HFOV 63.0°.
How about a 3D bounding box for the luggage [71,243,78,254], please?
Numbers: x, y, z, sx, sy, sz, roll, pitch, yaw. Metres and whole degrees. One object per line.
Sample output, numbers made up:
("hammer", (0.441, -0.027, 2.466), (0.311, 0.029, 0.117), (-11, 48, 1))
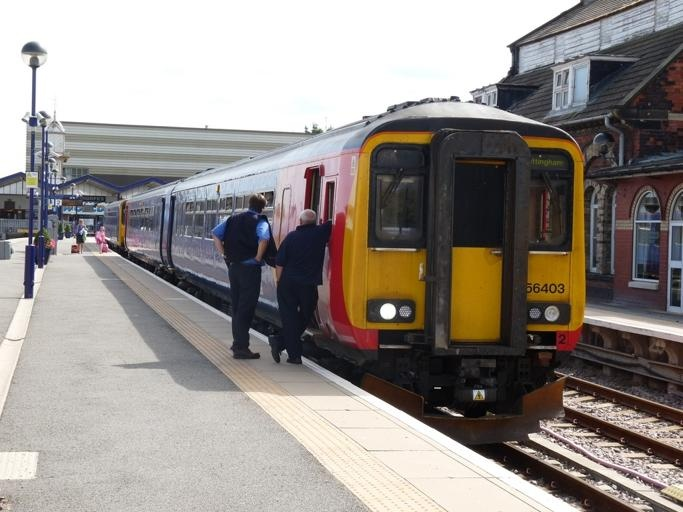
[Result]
("luggage", (-18.589, -0.380, 38.445), (0.603, 0.824, 0.820), (-1, 4, -32))

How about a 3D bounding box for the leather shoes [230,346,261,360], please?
("leather shoes", (-1.426, 1.452, 8.134), (0.499, 0.233, 0.170), (1, 2, -22))

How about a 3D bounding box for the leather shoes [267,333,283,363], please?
("leather shoes", (-0.967, 1.319, 7.951), (0.188, 0.465, 0.153), (-7, 5, -7))
